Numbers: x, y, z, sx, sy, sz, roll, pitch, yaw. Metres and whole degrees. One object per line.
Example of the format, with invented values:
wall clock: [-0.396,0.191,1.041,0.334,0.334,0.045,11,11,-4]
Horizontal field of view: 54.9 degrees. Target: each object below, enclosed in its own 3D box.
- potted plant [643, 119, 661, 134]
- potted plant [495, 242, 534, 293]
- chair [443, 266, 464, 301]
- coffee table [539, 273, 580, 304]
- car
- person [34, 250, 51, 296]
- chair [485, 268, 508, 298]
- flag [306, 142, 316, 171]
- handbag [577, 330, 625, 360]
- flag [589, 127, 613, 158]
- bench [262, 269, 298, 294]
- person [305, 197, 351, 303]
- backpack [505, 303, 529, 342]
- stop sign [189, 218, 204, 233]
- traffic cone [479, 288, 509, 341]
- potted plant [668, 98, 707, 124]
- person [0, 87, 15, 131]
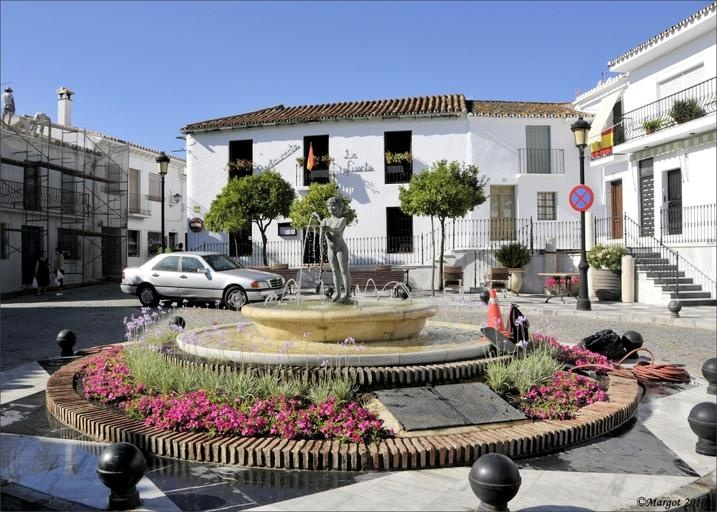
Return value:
potted plant: [10.343,-4.549,24.051,0.516,0.288,0.590,-2,3,8]
potted plant: [5.578,0.386,24.525,1.484,2.236,1.600,0,-6,0]
chair: [3.242,0.840,23.459,0.809,1.430,0.976,0,5,9]
coffee table: [6.798,0.968,22.849,1.017,0.713,1.102,1,-1,10]
car: [-4.471,0.658,19.515,4.499,1.146,1.018,-1,0,20]
person: [-11.985,0.597,25.820,0.449,1.424,1.534,-1,0,-26]
chair: [4.284,0.805,21.224,0.722,1.205,0.817,1,10,3]
flag: [-2.079,-4.381,29.810,0.406,1.237,1.654,-1,0,-4]
handbag: [4.331,1.557,12.147,0.785,0.479,0.562,-1,0,14]
flag: [10.231,-4.727,28.726,0.460,1.068,1.671,-1,0,-2]
bench: [-2.375,0.769,20.784,0.680,0.739,0.165,0,2,18]
person: [-0.430,-0.151,11.859,0.575,1.851,1.311,-1,0,-4]
backpack: [2.463,1.020,10.597,0.292,0.580,0.547,-1,0,12]
stop sign: [-7.388,-1.439,31.066,0.695,0.488,0.314,-1,0,22]
traffic cone: [2.756,1.166,14.035,0.854,1.219,0.835,-3,3,10]
potted plant: [10.280,-4.413,21.184,0.772,0.635,0.727,-2,5,-10]
person: [-15.134,-6.379,29.500,0.423,1.573,2.499,-1,0,-29]
